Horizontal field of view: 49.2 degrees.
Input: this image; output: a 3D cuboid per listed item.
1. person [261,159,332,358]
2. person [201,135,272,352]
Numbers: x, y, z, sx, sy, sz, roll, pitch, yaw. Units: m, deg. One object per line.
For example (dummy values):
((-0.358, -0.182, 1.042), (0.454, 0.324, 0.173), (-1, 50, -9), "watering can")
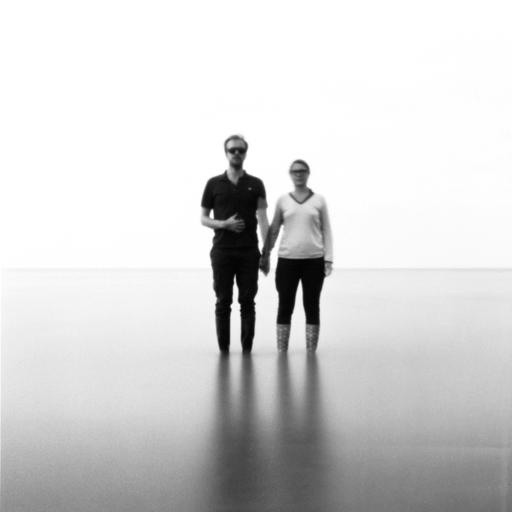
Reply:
((0.411, 0.038, 5.663), (0.708, 1.506, 0.449), (4, 2, 1), "person")
((-0.230, -0.086, 5.708), (0.702, 1.568, 0.467), (4, 2, -7), "person")
